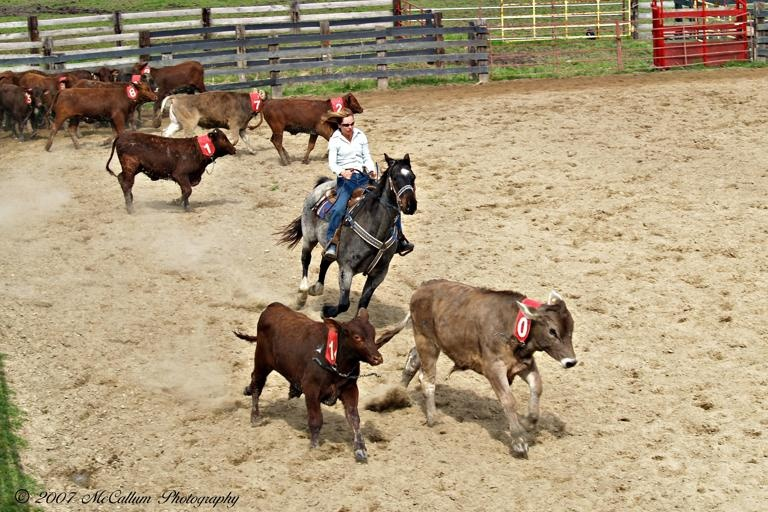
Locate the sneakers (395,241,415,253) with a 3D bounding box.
[{"bbox_3d":[0.377,-0.141,18.935,0.292,0.267,0.169,-11,19,-14],"label":"sneakers"}]

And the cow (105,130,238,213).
[{"bbox_3d":[-4.449,-1.691,22.372,2.143,1.240,0.703,2,-8,-14],"label":"cow"}]

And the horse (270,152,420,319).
[{"bbox_3d":[-0.591,-0.378,18.618,1.316,2.974,2.691,-15,22,-36],"label":"horse"}]

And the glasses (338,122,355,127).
[{"bbox_3d":[-0.689,-2.293,18.873,0.236,0.064,0.150,1,16,6],"label":"glasses"}]

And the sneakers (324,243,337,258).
[{"bbox_3d":[-0.916,-0.091,18.658,0.196,0.228,0.275,0,-12,33],"label":"sneakers"}]
